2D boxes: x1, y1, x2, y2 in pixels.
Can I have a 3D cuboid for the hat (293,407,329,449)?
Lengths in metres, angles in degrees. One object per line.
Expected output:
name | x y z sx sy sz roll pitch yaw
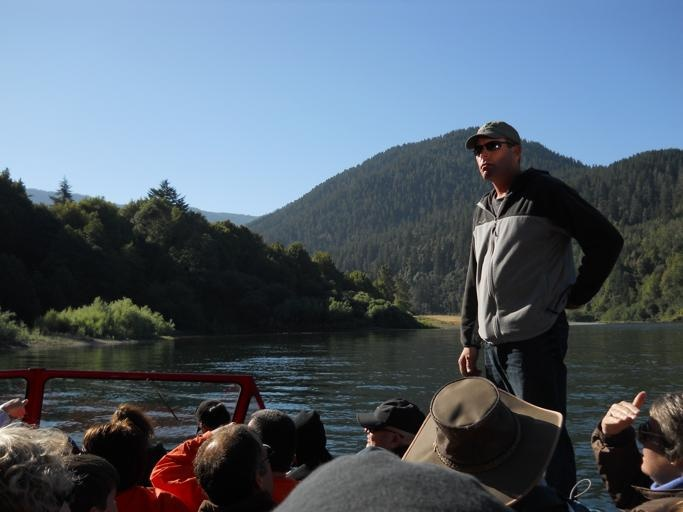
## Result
hat | -0.292 1.386 5.689 0.289 0.293 0.106 4 -17 -27

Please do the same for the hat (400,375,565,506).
hat | 0.682 0.814 3.199 0.647 0.543 0.492 1 -6 -14

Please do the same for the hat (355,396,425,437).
hat | 0.358 1.102 4.906 0.341 0.208 0.240 5 -9 2

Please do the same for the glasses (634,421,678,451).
glasses | 1.558 0.902 3.479 0.130 0.052 0.128 23 -11 10
